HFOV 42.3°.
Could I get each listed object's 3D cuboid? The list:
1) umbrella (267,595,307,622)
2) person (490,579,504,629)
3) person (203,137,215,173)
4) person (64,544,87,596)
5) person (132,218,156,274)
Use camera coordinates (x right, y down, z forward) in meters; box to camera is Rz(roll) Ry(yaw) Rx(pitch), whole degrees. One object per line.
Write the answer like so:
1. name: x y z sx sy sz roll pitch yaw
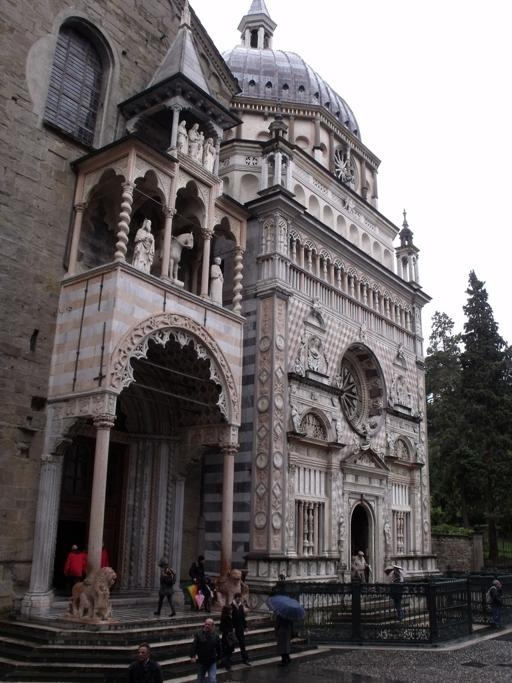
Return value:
1. umbrella: 0.526 4.652 11.500 0.503 0.408 0.648 6 -19 -13
2. person: 6.697 7.324 18.521 0.344 1.231 1.957 -5 -20 17
3. person: -1.312 -5.091 18.227 0.259 1.194 0.627 -2 -19 9
4. person: -4.033 5.068 14.747 0.427 0.975 1.623 6 -19 -14
5. person: -2.575 -2.155 15.210 0.421 1.475 0.755 5 -19 -12
